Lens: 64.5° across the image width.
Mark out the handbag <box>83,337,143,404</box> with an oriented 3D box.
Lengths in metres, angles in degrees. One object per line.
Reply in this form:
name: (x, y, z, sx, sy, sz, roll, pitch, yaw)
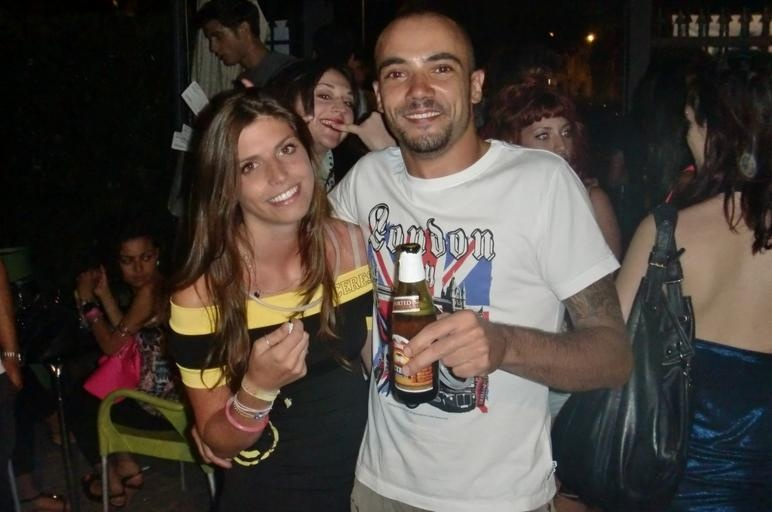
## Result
handbag: (-1.982, 0.864, 4.709, 0.539, 0.233, 0.428, -50, 7, -25)
